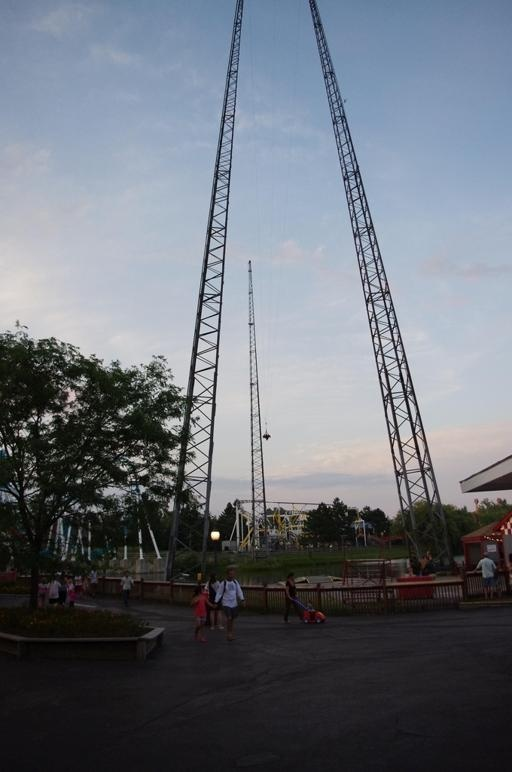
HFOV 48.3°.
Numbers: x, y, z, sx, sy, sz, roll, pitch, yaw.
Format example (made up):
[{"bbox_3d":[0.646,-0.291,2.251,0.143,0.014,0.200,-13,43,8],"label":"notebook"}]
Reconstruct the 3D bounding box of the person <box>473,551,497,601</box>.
[{"bbox_3d":[8.249,6.781,20.422,0.628,1.490,1.934,-10,-16,19],"label":"person"}]

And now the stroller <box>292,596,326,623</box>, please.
[{"bbox_3d":[1.555,6.686,16.987,0.584,0.662,1.086,6,-18,-33],"label":"stroller"}]

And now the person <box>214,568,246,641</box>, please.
[{"bbox_3d":[-0.652,5.255,13.814,0.730,1.567,0.636,2,-18,-9],"label":"person"}]
